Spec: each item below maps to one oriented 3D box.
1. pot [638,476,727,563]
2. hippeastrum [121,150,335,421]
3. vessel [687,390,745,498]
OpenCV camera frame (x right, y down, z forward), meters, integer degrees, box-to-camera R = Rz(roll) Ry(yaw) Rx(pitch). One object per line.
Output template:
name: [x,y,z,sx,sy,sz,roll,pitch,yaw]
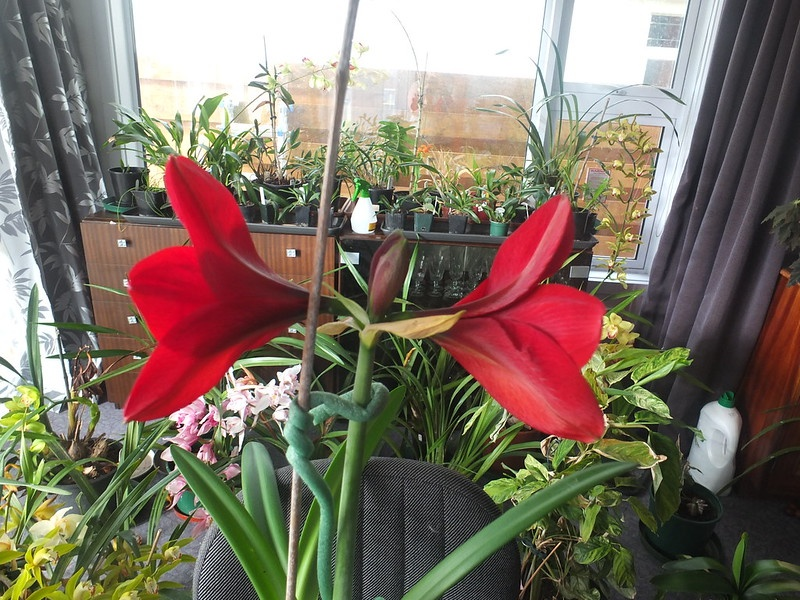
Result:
pot: [1.031,0.822,1.996,0.237,0.200,0.260,-1,19,0]
hippeastrum: [-0.231,0.009,0.677,0.224,0.220,0.246,-26,-26,20]
vessel: [1.304,0.589,2.229,0.176,0.449,0.250,16,22,34]
